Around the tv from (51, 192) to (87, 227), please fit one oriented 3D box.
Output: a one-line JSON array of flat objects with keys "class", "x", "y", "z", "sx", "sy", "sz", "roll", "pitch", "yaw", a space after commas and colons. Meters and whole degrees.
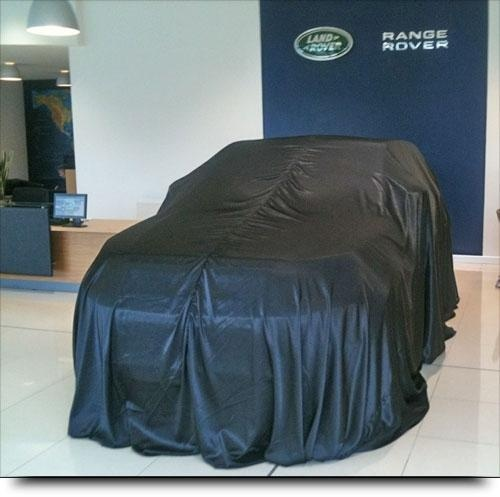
[{"class": "tv", "x": -1.482, "y": -0.313, "z": 4.036, "sx": 0.334, "sy": 0.344, "sz": 0.122, "roll": 2, "pitch": 2, "yaw": 12}]
